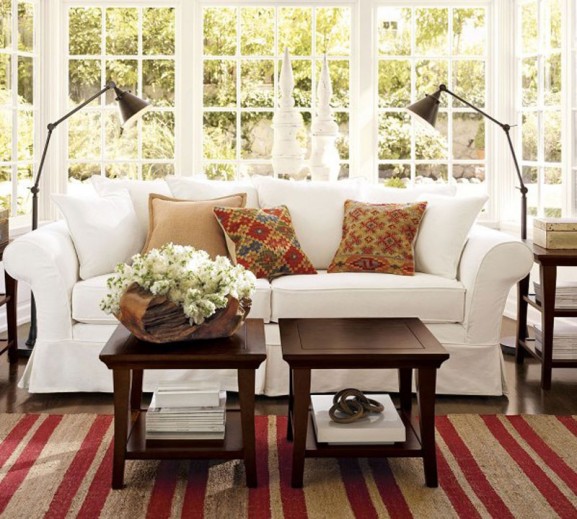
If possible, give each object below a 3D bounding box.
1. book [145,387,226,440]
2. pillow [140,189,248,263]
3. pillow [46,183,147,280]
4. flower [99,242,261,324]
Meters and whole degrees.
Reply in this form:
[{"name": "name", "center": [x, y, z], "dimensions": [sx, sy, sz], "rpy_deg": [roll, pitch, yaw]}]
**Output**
[{"name": "book", "center": [-0.344, 0.539, 1.850], "dimensions": [0.191, 0.070, 0.200], "rpy_deg": [1, 4, 5]}, {"name": "pillow", "center": [-0.489, -0.167, 2.730], "dimensions": [0.408, 0.384, 0.156], "rpy_deg": [-3, 0, -7]}, {"name": "pillow", "center": [-1.029, -0.133, 2.924], "dimensions": [0.211, 0.406, 0.464], "rpy_deg": [10, 11, 23]}, {"name": "flower", "center": [-0.380, 0.091, 1.886], "dimensions": [0.375, 0.221, 0.394], "rpy_deg": [2, 0, -9]}]
